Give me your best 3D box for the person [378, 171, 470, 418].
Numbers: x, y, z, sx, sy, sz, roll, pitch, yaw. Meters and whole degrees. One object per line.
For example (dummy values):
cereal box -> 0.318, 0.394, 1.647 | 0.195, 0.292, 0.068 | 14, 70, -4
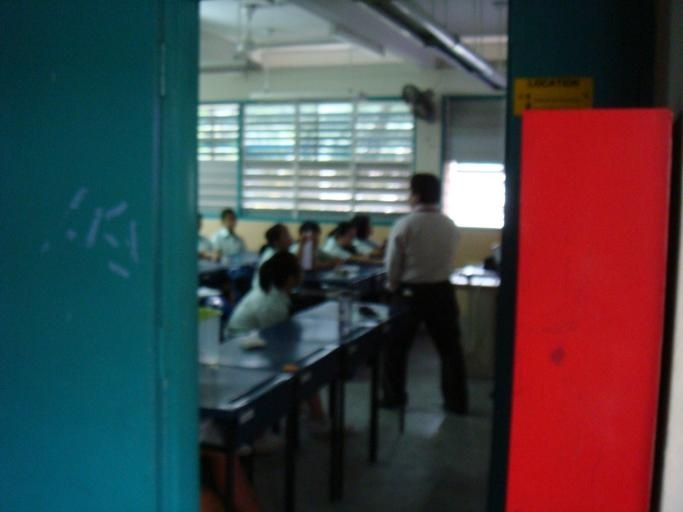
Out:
person -> 0.303, 0.141, 2.206 | 0.281, 0.876, 0.093 | 1, 4, 33
